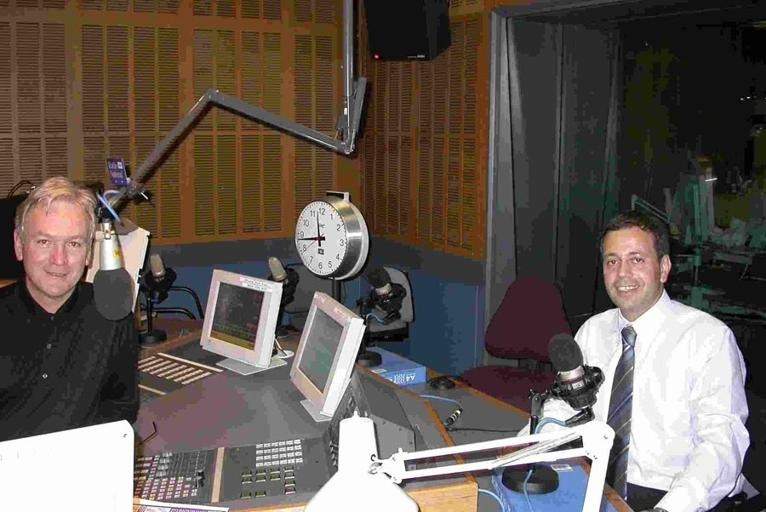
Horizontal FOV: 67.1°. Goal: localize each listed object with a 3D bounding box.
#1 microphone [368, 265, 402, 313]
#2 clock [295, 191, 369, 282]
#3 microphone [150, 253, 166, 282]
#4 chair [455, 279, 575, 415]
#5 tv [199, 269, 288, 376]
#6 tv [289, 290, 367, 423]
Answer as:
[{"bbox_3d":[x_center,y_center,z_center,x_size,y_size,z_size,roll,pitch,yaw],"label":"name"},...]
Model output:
[{"bbox_3d":[0.018,0.201,3.461,0.191,0.263,0.168,13,18,36],"label":"microphone"},{"bbox_3d":[-0.353,-0.128,3.865,0.507,0.480,0.172,13,18,36],"label":"clock"},{"bbox_3d":[-1.561,0.063,4.017,0.096,0.194,0.152,-4,15,-22],"label":"microphone"},{"bbox_3d":[1.209,0.700,4.784,0.886,1.113,1.019,4,2,0],"label":"chair"},{"bbox_3d":[-0.833,0.389,3.594,0.608,0.552,0.333,8,13,38],"label":"tv"},{"bbox_3d":[-0.285,0.536,3.029,0.181,0.482,0.472,9,17,-32],"label":"tv"}]
